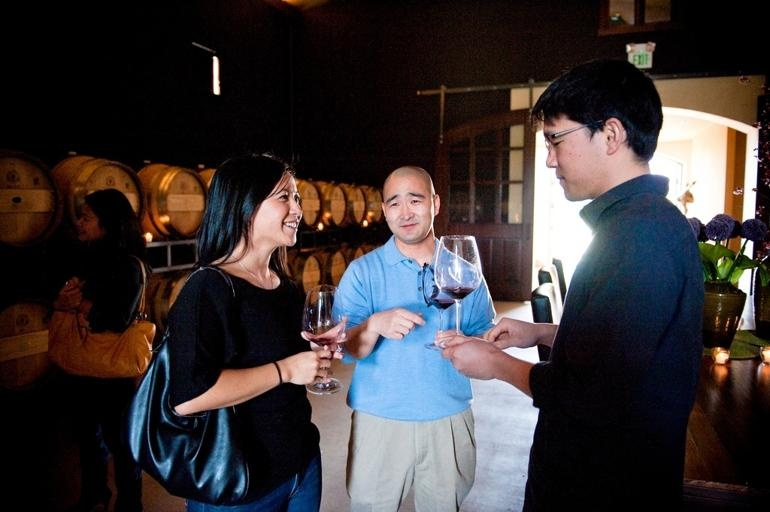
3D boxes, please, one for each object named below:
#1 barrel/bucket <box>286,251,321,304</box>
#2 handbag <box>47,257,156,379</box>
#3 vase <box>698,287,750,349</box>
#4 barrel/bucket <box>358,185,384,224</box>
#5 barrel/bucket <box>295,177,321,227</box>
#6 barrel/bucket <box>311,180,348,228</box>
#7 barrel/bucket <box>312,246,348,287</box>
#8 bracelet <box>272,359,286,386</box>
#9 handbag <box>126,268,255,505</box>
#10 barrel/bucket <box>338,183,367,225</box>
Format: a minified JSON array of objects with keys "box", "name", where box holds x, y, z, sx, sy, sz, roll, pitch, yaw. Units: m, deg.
[{"box":[-0.951,0.172,6.307,0.315,0.292,0.305,-8,-17,-3],"name":"barrel/bucket"},{"box":[-1.921,0.551,3.728,0.650,0.675,0.378,8,-6,-11],"name":"handbag"},{"box":[1.934,0.343,3.151,0.226,0.381,0.167,0,2,19],"name":"vase"},{"box":[-0.177,-0.722,7.623,0.470,0.450,0.458,-4,-38,-3],"name":"barrel/bucket"},{"box":[-0.855,-0.597,6.199,0.479,0.470,0.491,-4,1,0],"name":"barrel/bucket"},{"box":[-0.651,-0.625,6.594,0.446,0.477,0.484,-1,-7,0],"name":"barrel/bucket"},{"box":[-0.664,0.112,6.668,0.461,0.481,0.491,3,-13,1],"name":"barrel/bucket"},{"box":[-0.475,0.507,2.415,0.060,0.094,0.032,1,3,34],"name":"bracelet"},{"box":[-0.844,0.683,2.365,0.500,0.745,0.189,0,2,17],"name":"handbag"},{"box":[-0.380,-0.656,7.093,0.481,0.436,0.448,-1,-7,0],"name":"barrel/bucket"}]
